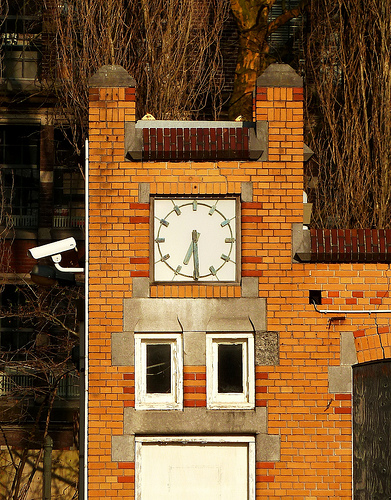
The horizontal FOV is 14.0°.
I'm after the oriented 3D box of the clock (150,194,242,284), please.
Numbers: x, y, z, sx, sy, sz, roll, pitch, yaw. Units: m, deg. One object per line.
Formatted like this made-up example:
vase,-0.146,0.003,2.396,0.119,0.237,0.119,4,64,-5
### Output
clock,0.010,-0.152,27.035,1.469,1.410,0.202,1,2,-4
